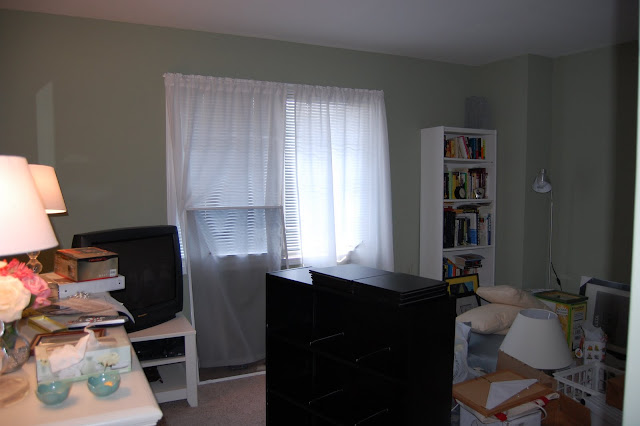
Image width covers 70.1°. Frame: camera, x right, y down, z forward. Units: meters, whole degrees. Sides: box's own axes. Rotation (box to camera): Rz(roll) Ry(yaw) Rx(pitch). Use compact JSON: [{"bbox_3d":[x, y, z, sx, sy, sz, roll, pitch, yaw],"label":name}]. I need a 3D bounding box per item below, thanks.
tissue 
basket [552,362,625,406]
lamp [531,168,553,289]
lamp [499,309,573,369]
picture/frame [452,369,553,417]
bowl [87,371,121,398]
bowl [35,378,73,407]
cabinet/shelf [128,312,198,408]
[{"bbox_3d":[-1.253,0.755,2.426,0.329,0.109,0.326,-2,4,-21],"label":"tissue "},{"bbox_3d":[1.933,1.230,3.379,0.320,0.206,0.318,-12,12,-24],"label":"basket"},{"bbox_3d":[2.652,0.196,5.429,0.213,1.465,0.629,-1,6,27],"label":"lamp"},{"bbox_3d":[1.563,0.862,3.268,0.433,0.422,0.428,-12,17,-43],"label":"lamp"},{"bbox_3d":[1.267,1.253,3.141,0.468,0.040,0.381,-7,8,-28],"label":"picture/frame"},{"bbox_3d":[-1.091,0.862,2.307,0.122,0.082,0.127,6,0,0],"label":"bowl"},{"bbox_3d":[-1.318,0.889,2.263,0.120,0.070,0.125,4,6,0],"label":"bowl"},{"bbox_3d":[-1.405,1.358,4.227,0.694,0.669,0.686,-1,-4,-23],"label":"cabinet/shelf"}]
